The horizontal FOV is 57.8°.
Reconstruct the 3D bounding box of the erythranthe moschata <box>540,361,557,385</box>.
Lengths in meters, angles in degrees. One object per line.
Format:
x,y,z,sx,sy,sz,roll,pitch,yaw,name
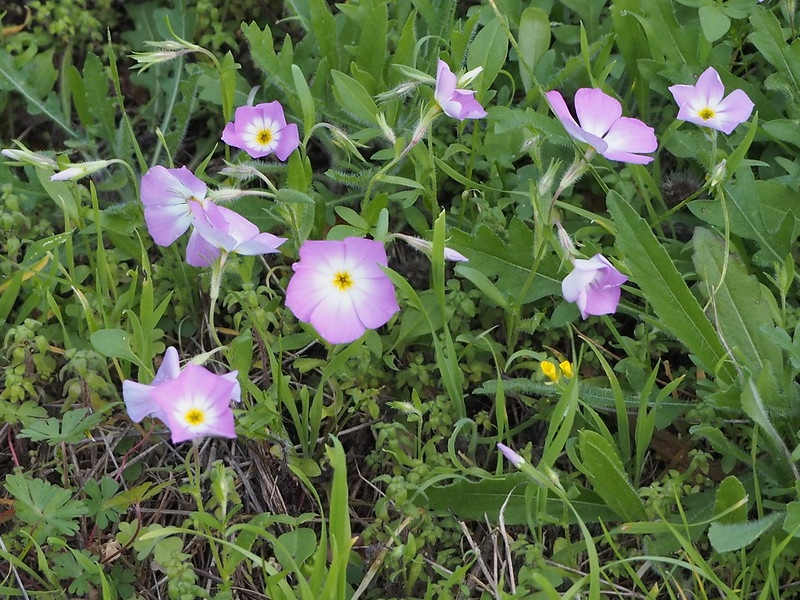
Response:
0.504,0.248,2.474,0.034,0.070,0.041,-25,38,10,erythranthe moschata

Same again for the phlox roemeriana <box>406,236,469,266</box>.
0.144,-0.180,2.640,0.208,0.042,0.059,29,70,5,phlox roemeriana

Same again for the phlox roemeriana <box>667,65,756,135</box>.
1.162,-0.724,2.673,0.288,0.308,0.111,20,83,42,phlox roemeriana

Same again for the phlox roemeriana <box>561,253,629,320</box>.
0.619,-0.050,2.372,0.190,0.196,0.195,-15,31,-9,phlox roemeriana

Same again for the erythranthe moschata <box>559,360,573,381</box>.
0.567,0.244,2.483,0.056,0.089,0.045,7,62,-5,erythranthe moschata

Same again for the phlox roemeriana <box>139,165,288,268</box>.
-0.624,-0.206,2.427,0.378,0.183,0.373,-13,55,11,phlox roemeriana

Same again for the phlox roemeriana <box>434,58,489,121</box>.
0.158,-0.716,2.485,0.093,0.175,0.157,-53,47,14,phlox roemeriana
